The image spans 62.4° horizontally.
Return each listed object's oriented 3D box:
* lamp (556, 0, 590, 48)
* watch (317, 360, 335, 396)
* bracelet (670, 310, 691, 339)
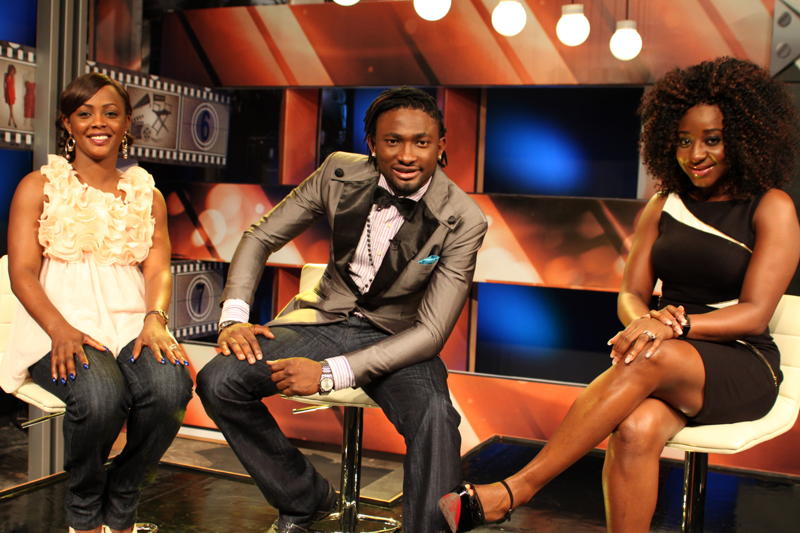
[{"bbox_3d":[0.872,-1.247,3.442,0.205,0.232,0.206,0,2,7],"label":"lamp"},{"bbox_3d":[-0.277,0.419,2.460,0.067,0.108,0.099,1,4,-10],"label":"watch"},{"bbox_3d":[1.028,0.207,2.441,0.047,0.091,0.073,-1,-6,7],"label":"bracelet"}]
